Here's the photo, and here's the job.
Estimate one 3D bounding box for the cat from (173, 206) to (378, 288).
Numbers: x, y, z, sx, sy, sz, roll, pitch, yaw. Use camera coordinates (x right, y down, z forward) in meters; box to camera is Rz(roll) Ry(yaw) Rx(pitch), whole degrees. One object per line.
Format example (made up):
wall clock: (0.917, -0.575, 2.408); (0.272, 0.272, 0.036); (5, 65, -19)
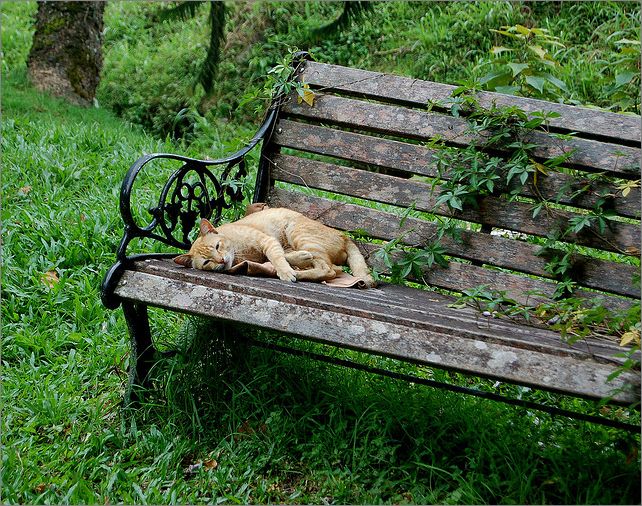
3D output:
cat: (-0.254, -0.037, 3.674); (1.245, 0.360, 0.528); (-7, 75, 12)
